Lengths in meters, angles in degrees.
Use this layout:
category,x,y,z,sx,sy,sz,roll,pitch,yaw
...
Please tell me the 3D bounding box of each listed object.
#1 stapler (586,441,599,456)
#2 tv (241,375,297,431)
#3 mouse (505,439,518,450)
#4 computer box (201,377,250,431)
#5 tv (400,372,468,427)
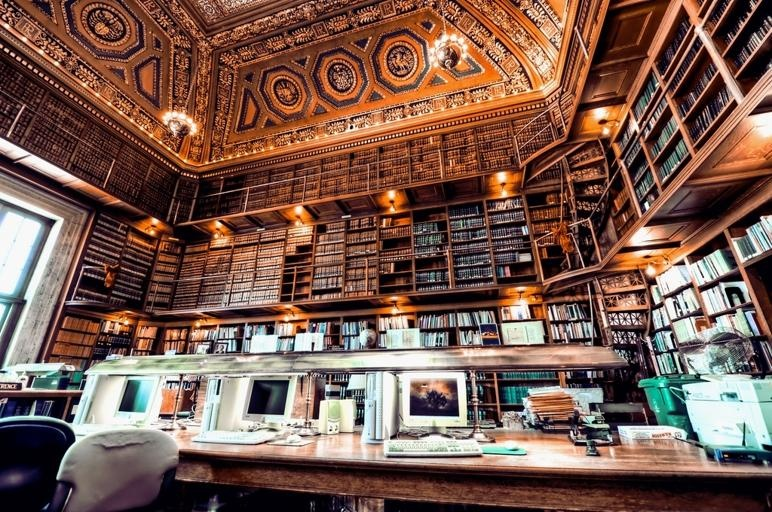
category,x,y,z,sx,sy,sz,roll,pitch,yaw
stapler,1.652,1.528,3.239,0.065,0.061,0.181,2,-10,12
tv,-1.173,1.441,4.024,0.665,0.459,0.258,-5,-28,14
mouse,1.059,1.554,3.372,0.096,0.050,0.104,-5,-11,3
computer box,-1.622,1.553,4.199,0.484,0.533,0.519,-1,-27,-2
tv,0.468,1.369,3.845,0.685,0.422,0.184,-1,-25,4
